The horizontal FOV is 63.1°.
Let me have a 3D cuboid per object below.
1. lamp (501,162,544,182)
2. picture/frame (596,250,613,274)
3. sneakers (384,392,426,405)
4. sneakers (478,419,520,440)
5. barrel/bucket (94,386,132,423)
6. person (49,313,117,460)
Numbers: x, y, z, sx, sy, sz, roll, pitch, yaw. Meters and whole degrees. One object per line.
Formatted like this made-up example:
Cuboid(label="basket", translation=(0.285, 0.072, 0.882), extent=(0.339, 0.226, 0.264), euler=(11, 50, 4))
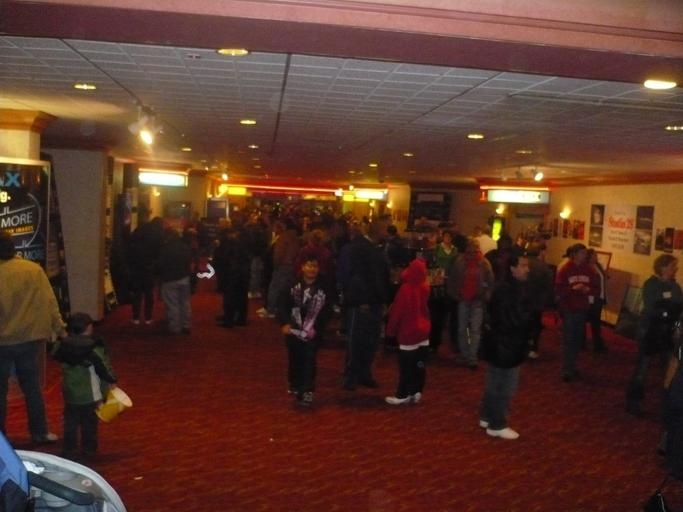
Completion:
Cuboid(label="lamp", translation=(4.488, -2.051, 13.793), extent=(0.924, 0.317, 3.981), euler=(5, 8, 17))
Cuboid(label="picture/frame", translation=(6.063, 0.149, 12.828), extent=(0.039, 0.581, 0.506), euler=(0, 8, -20))
Cuboid(label="sneakers", translation=(0.842, 1.895, 7.382), extent=(0.491, 0.197, 0.171), euler=(5, -6, -13))
Cuboid(label="sneakers", translation=(1.888, 2.080, 6.696), extent=(0.467, 0.187, 0.158), euler=(1, 9, 11))
Cuboid(label="barrel/bucket", translation=(-2.370, 1.576, 5.784), extent=(0.310, 0.338, 0.370), euler=(-37, -13, -16))
Cuboid(label="person", translation=(-2.646, 1.340, 5.718), extent=(0.568, 1.455, 0.274), euler=(5, 7, 15))
